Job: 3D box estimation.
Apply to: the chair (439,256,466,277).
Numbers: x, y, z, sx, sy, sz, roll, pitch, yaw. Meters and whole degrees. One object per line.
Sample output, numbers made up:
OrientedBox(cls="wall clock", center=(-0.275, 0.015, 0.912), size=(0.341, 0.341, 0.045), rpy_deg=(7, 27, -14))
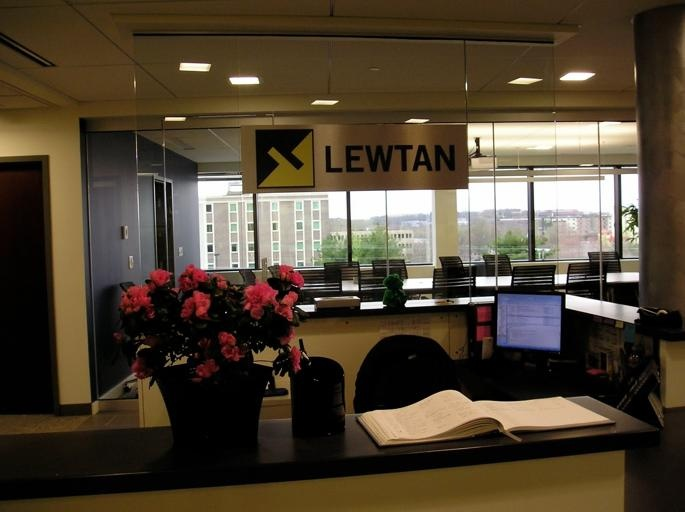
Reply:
OrientedBox(cls="chair", center=(0.855, 0.080, 4.419), size=(0.128, 0.258, 0.179), rpy_deg=(-2, -4, -3))

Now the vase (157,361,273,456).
OrientedBox(cls="vase", center=(-0.509, 0.601, 2.265), size=(0.392, 0.311, 0.341), rpy_deg=(1, -1, -2))

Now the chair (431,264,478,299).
OrientedBox(cls="chair", center=(0.832, 0.178, 4.274), size=(0.346, 0.216, 0.361), rpy_deg=(1, 4, 7))

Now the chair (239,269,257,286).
OrientedBox(cls="chair", center=(-0.660, 0.144, 3.951), size=(0.163, 0.129, 0.101), rpy_deg=(-1, 1, 32))

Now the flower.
OrientedBox(cls="flower", center=(-0.525, 0.259, 2.226), size=(0.593, 0.451, 0.479), rpy_deg=(0, -2, -4))

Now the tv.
OrientedBox(cls="tv", center=(1.243, 0.442, 3.815), size=(0.451, 0.431, 0.039), rpy_deg=(0, -19, 22))

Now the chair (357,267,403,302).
OrientedBox(cls="chair", center=(0.284, 0.200, 4.416), size=(0.389, 0.298, 0.221), rpy_deg=(0, -2, -6))

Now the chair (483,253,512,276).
OrientedBox(cls="chair", center=(1.207, 0.065, 4.535), size=(0.149, 0.273, 0.188), rpy_deg=(-1, 2, -2))
